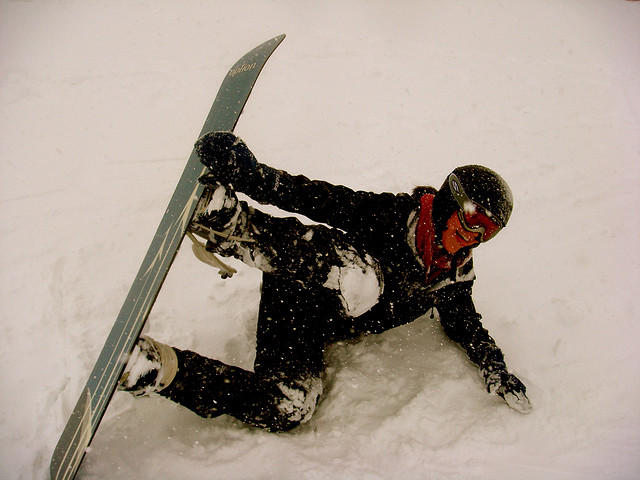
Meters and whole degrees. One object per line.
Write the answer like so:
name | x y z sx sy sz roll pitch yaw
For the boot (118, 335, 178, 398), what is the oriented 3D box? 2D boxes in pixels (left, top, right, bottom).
boot | -1.108 0.840 4.426 0.339 0.331 0.196 16 15 -12

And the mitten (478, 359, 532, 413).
mitten | 1.292 1.028 4.814 0.262 0.130 0.373 -31 69 -20

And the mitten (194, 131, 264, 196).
mitten | -0.608 -0.491 4.481 0.490 0.412 0.184 16 15 -13

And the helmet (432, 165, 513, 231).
helmet | 1.079 -0.408 4.784 0.612 0.426 0.579 14 27 21
